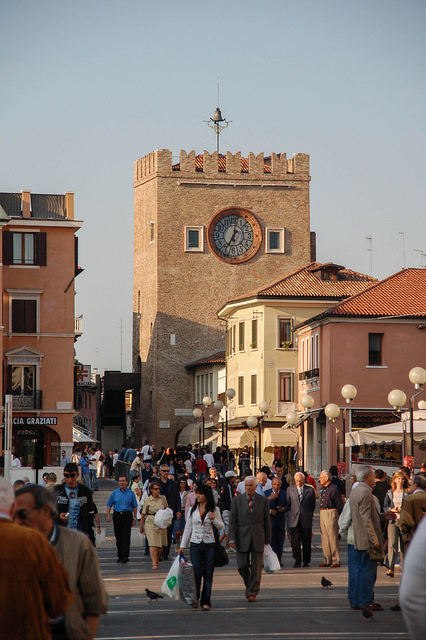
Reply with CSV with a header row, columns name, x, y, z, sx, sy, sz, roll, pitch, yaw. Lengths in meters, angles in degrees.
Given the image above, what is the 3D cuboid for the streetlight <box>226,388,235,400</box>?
name,x,y,z,sx,sy,sz,roll,pitch,yaw
streetlight,0.544,2.440,50.802,0.281,0.421,0.311,0,2,-6

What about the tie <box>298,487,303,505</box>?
name,x,y,z,sx,sy,sz,roll,pitch,yaw
tie,1.327,2.750,24.198,0.029,0.276,0.033,-3,-20,-2

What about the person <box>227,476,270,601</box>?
name,x,y,z,sx,sy,sz,roll,pitch,yaw
person,0.410,2.572,18.375,0.489,1.438,1.076,-1,-6,1

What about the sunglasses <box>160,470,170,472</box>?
name,x,y,z,sx,sy,sz,roll,pitch,yaw
sunglasses,-0.760,2.407,24.723,0.112,0.033,0.160,0,-7,-17

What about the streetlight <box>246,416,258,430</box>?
name,x,y,z,sx,sy,sz,roll,pitch,yaw
streetlight,1.090,3.166,46.967,0.375,0.561,0.418,-2,1,5

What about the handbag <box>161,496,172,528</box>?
name,x,y,z,sx,sy,sz,roll,pitch,yaw
handbag,-0.637,2.806,22.588,0.090,0.358,0.215,-14,4,-8

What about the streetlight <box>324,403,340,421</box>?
name,x,y,z,sx,sy,sz,roll,pitch,yaw
streetlight,2.947,2.274,38.613,0.381,0.564,0.430,0,0,-2

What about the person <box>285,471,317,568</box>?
name,x,y,z,sx,sy,sz,roll,pitch,yaw
person,1.336,3.100,24.168,0.373,1.472,0.390,0,-2,-3

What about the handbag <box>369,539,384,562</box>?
name,x,y,z,sx,sy,sz,roll,pitch,yaw
handbag,1.728,2.515,16.898,0.192,0.300,0.049,10,-42,-17

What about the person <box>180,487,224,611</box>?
name,x,y,z,sx,sy,sz,roll,pitch,yaw
person,-0.144,2.567,17.544,0.434,1.432,0.344,-2,-5,12

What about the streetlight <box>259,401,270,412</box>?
name,x,y,z,sx,sy,sz,roll,pitch,yaw
streetlight,1.602,2.769,48.646,0.341,0.509,0.402,0,2,-3

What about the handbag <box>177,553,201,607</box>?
name,x,y,z,sx,sy,sz,roll,pitch,yaw
handbag,-0.270,2.882,17.196,0.190,0.622,0.469,-8,14,-12

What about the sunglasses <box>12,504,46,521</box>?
name,x,y,z,sx,sy,sz,roll,pitch,yaw
sunglasses,-1.133,1.189,9.591,0.110,0.037,0.110,-29,8,-18

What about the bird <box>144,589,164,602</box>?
name,x,y,z,sx,sy,sz,roll,pitch,yaw
bird,-0.662,3.106,17.600,0.207,0.164,0.081,-5,-11,1

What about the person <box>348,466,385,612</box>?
name,x,y,z,sx,sy,sz,roll,pitch,yaw
person,1.626,2.397,17.070,0.380,1.575,0.834,-1,-5,5
